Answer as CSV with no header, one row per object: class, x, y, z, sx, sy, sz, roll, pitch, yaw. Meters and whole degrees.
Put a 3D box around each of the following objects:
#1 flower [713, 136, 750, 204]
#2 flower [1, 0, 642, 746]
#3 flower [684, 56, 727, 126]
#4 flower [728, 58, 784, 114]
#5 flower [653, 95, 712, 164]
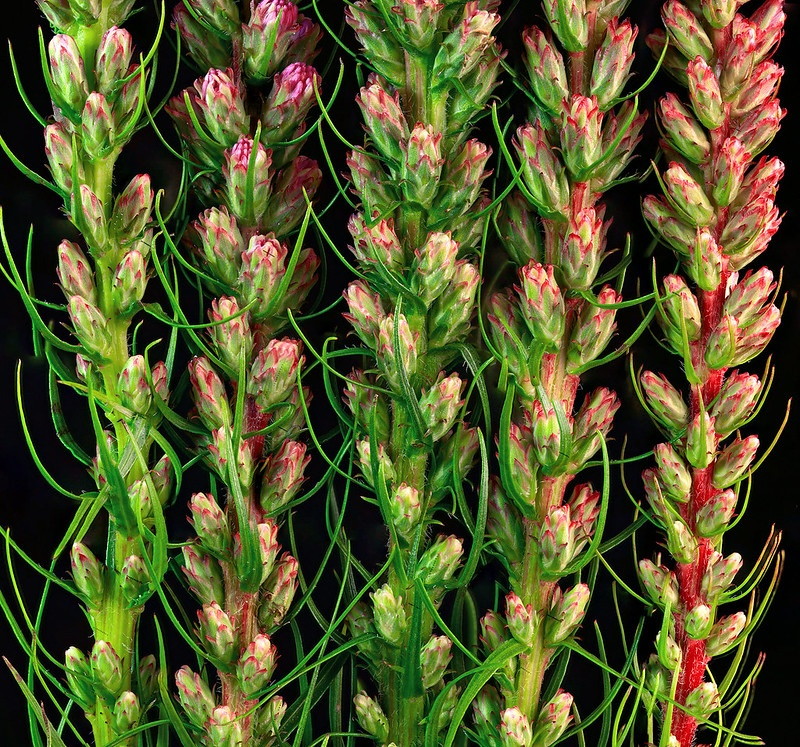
flower,0.304,-0.186,1.266,0.026,0.064,0.014,9,9,10
flower,-0.080,0.010,1.276,0.568,0.833,0.349,11,10,11
flower,0.287,-0.262,1.271,0.021,0.026,0.074,1,-32,28
flower,0.332,-0.265,1.272,0.031,0.059,0.030,31,5,-6
flower,0.267,-0.229,1.297,0.033,0.077,0.032,-26,-2,31
